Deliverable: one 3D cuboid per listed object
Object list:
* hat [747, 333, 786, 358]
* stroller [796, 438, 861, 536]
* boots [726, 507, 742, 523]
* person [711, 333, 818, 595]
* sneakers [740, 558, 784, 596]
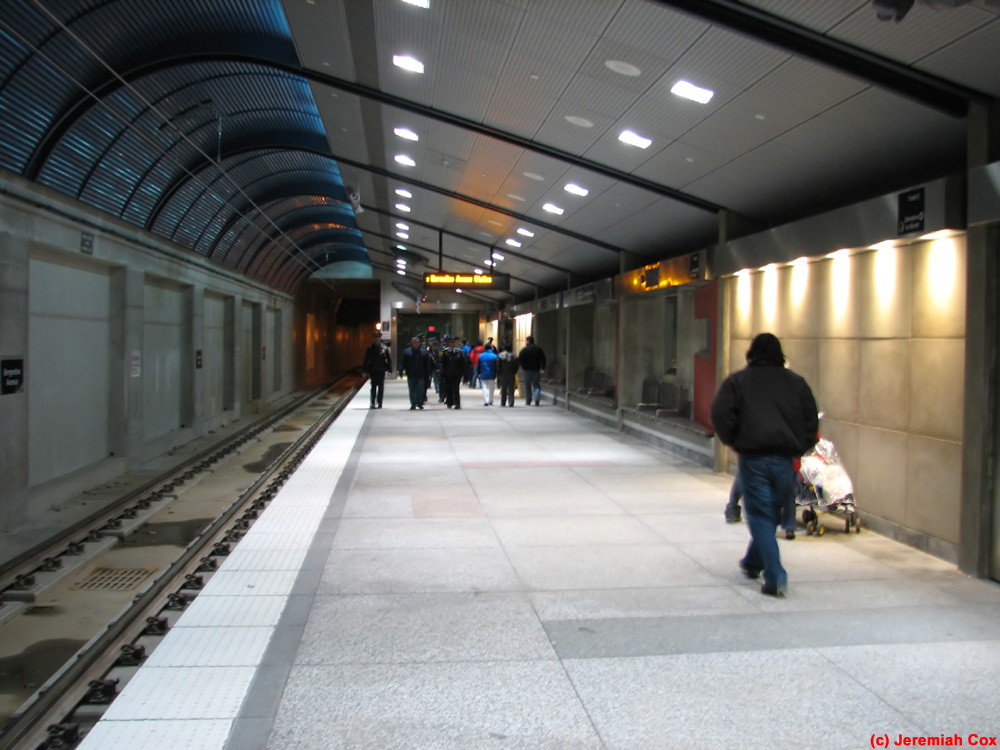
[{"bbox_3d":[2.303,-0.256,5.372,0.286,0.255,0.403,1,4,22],"label":"hat"},{"bbox_3d":[3.691,1.229,7.071,0.770,1.226,0.564,-7,-17,35],"label":"stroller"},{"bbox_3d":[2.687,1.577,7.205,0.184,0.169,0.157,-2,5,2],"label":"boots"},{"bbox_3d":[2.175,0.697,5.113,0.803,2.083,0.363,1,1,18],"label":"person"},{"bbox_3d":[2.186,1.641,5.166,0.188,0.273,0.633,-4,-10,-2],"label":"sneakers"}]
